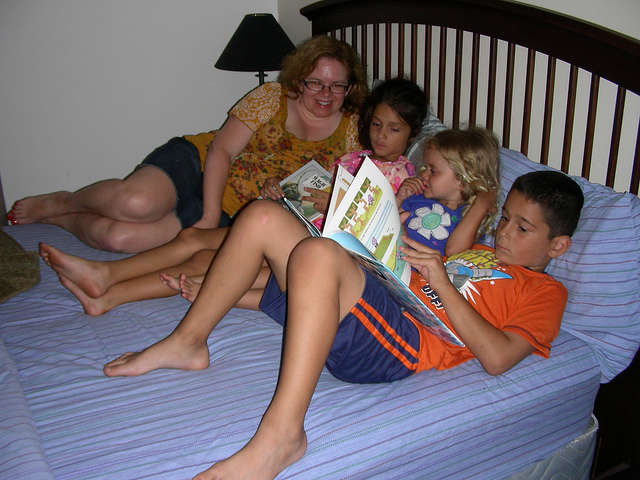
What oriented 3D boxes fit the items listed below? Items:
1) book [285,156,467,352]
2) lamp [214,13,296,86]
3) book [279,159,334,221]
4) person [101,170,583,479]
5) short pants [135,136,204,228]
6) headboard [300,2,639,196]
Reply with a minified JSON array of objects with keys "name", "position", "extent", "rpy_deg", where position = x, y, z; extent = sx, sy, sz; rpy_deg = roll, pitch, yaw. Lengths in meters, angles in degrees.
[{"name":"book","position":[0.151,0.118,1.387],"extent":[0.190,0.520,0.458],"rpy_deg":[-43,51,4]},{"name":"lamp","position":[-0.387,-1.139,2.766],"extent":[0.443,0.320,0.196],"rpy_deg":[3,24,-8]},{"name":"book","position":[-0.066,-0.207,1.962],"extent":[0.219,0.024,0.236],"rpy_deg":[-39,71,-17]},{"name":"person","position":[0.151,0.282,1.512],"extent":[1.245,0.596,0.738],"rpy_deg":[-9,32,-19]},{"name":"short pants","position":[-0.637,-0.236,2.057],"extent":[0.188,0.251,0.335],"rpy_deg":[-11,26,31]},{"name":"headboard","position":[0.573,-0.742,2.057],"extent":[0.110,0.525,1.564],"rpy_deg":[-10,30,-32]}]
